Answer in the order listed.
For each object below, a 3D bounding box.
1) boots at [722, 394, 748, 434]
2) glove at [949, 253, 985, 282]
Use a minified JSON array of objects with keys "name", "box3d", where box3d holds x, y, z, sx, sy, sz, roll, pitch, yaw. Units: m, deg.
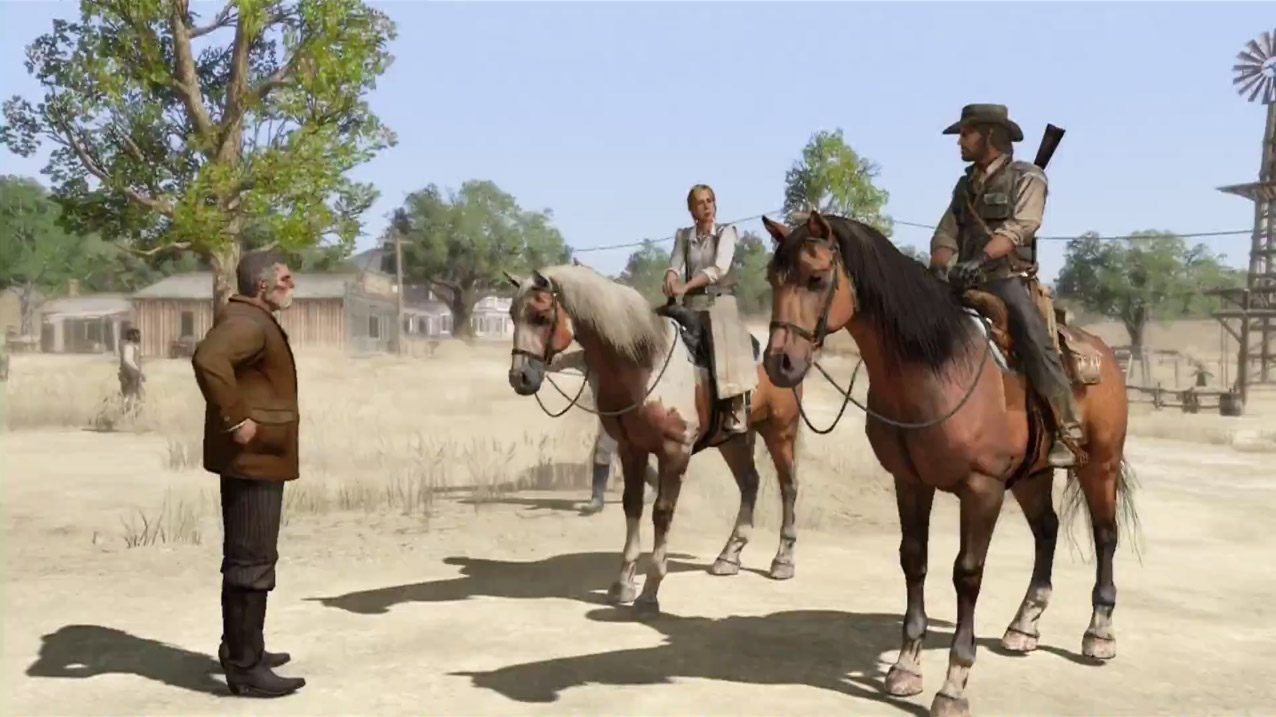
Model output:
[{"name":"boots","box3d":[1.674,1.016,21.825,0.512,0.604,0.698,1,-3,2]},{"name":"glove","box3d":[5.332,-1.440,19.397,0.555,0.412,0.247,0,2,11]}]
